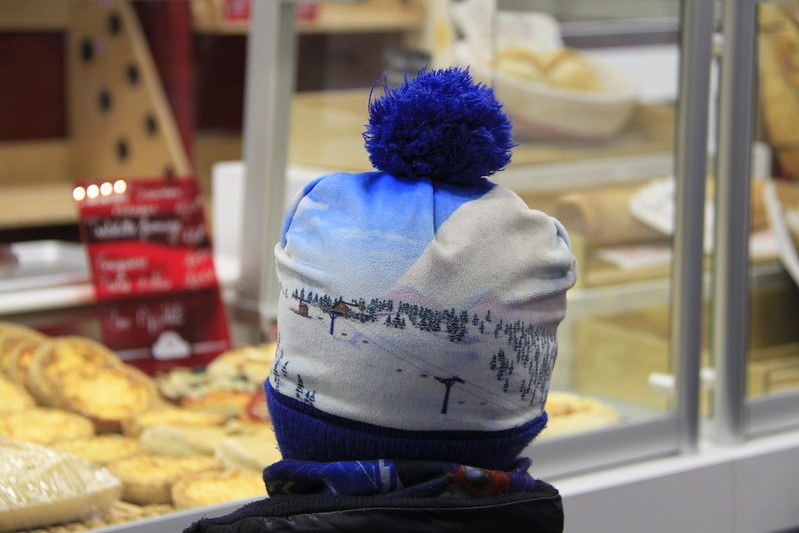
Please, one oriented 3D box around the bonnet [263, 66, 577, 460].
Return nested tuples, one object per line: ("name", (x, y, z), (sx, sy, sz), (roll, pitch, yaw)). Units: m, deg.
("bonnet", (0.025, 0.040, 1.773), (0.534, 0.674, 0.407), (3, 2, -2))
